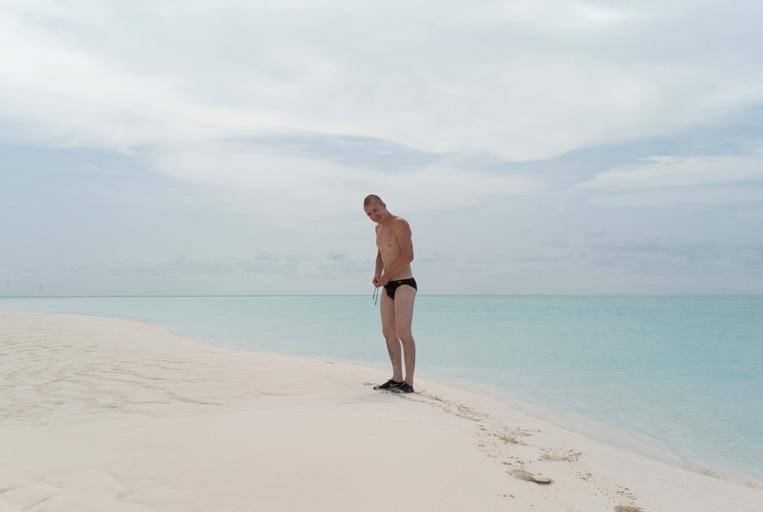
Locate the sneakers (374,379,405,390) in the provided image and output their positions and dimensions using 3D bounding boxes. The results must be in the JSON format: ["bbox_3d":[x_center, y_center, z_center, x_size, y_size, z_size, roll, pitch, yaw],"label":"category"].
[{"bbox_3d":[0.141,1.996,10.067,0.501,0.160,0.190,4,12,6],"label":"sneakers"}]

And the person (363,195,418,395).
[{"bbox_3d":[0.189,0.579,10.118,0.768,2.984,0.766,0,-2,25],"label":"person"}]
